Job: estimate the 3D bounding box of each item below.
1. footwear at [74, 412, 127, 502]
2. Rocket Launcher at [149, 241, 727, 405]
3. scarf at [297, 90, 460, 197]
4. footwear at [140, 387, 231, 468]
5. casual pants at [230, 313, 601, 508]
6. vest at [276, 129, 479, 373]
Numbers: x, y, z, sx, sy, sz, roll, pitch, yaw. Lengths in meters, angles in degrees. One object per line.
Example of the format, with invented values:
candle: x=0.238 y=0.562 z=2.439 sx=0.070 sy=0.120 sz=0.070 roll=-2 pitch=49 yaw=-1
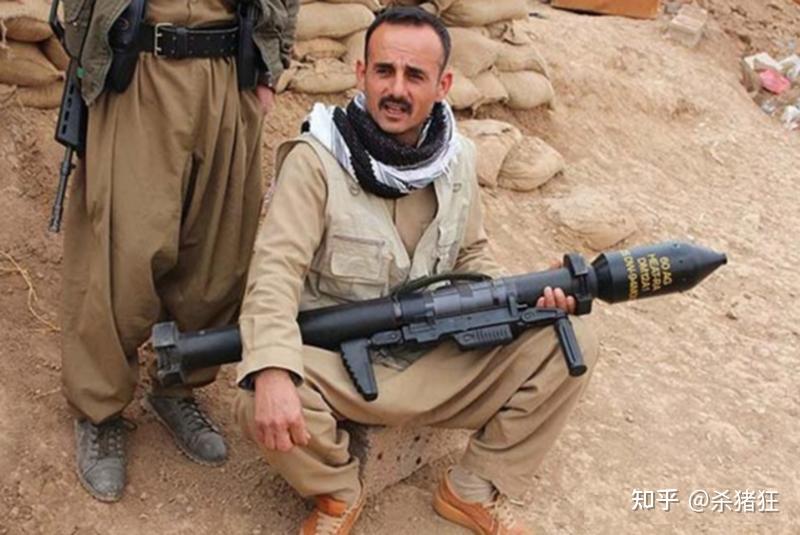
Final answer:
footwear: x=-1.793 y=1.151 z=5.546 sx=0.208 sy=0.273 sz=0.641 roll=-3 pitch=57 yaw=-29
Rocket Launcher: x=0.136 y=0.351 z=5.554 sx=2.438 sy=0.605 sz=0.533 roll=-10 pitch=66 yaw=-3
scarf: x=-0.102 y=-0.794 z=5.519 sx=0.793 sy=0.611 sz=0.396 roll=24 pitch=25 yaw=8
footwear: x=-1.386 y=1.023 z=5.904 sx=0.640 sy=0.277 sz=0.299 roll=45 pitch=48 yaw=15
casual pants: x=0.274 y=0.741 z=4.991 sx=1.817 sy=0.983 sz=1.067 roll=-2 pitch=19 yaw=-10
vest: x=-0.175 y=-0.075 z=5.341 sx=1.164 sy=1.123 sz=0.650 roll=-5 pitch=23 yaw=-30
